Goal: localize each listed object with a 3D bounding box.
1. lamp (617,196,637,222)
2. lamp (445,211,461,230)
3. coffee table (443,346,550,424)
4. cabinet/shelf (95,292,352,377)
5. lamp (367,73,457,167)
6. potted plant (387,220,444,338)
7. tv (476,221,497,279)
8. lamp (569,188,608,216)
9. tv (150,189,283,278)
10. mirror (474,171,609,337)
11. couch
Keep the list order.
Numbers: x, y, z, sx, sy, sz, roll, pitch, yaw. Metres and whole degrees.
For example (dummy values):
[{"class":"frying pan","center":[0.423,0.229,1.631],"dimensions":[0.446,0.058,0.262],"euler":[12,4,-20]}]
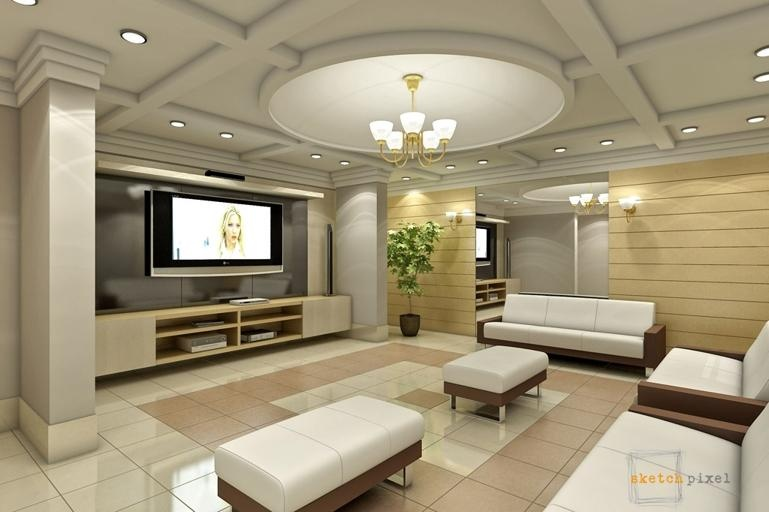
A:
[{"class":"lamp","center":[3.686,-0.724,7.129],"dimensions":[0.342,0.397,0.340],"euler":[4,-1,35]},{"class":"lamp","center":[1.317,-0.683,8.856],"dimensions":[0.239,0.324,0.340],"euler":[2,-1,40]},{"class":"coffee table","center":[1.286,1.398,5.399],"dimensions":[0.839,0.508,1.223],"euler":[0,3,36]},{"class":"cabinet/shelf","center":[-2.281,1.009,6.941],"dimensions":[3.528,0.924,0.583],"euler":[-4,2,-42]},{"class":"lamp","center":[0.339,-1.507,5.268],"dimensions":[1.001,0.873,1.042],"euler":[2,6,27]},{"class":"potted plant","center":[0.617,0.391,8.936],"dimensions":[1.008,1.427,0.896],"euler":[-3,2,17]},{"class":"tv","center":[1.869,-0.110,8.784],"dimensions":[0.097,1.125,0.676],"euler":[-5,4,-28]},{"class":"lamp","center":[3.299,-0.847,7.653],"dimensions":[0.212,0.344,0.774],"euler":[-4,2,-21]},{"class":"tv","center":[-2.490,-0.338,6.839],"dimensions":[0.150,0.792,1.477],"euler":[0,0,45]},{"class":"mirror","center":[2.657,-0.050,7.875],"dimensions":[1.478,2.609,2.878],"euler":[7,-8,-42]},{"class":"couch","center":[2.651,1.073,6.921],"dimensions":[2.516,0.855,0.812],"euler":[0,3,39]}]
